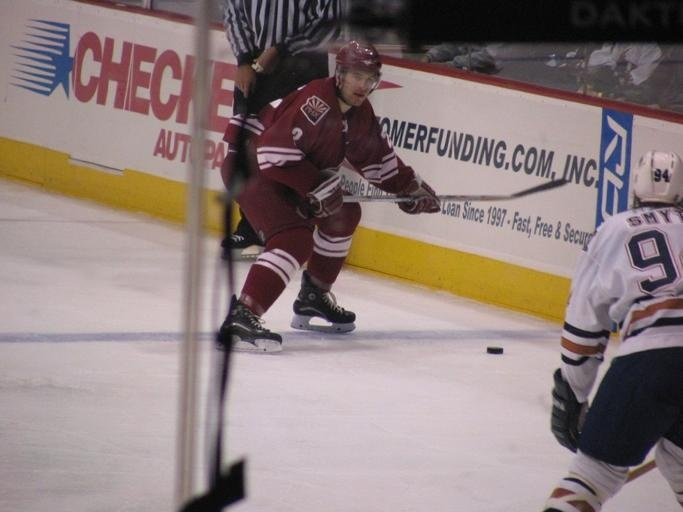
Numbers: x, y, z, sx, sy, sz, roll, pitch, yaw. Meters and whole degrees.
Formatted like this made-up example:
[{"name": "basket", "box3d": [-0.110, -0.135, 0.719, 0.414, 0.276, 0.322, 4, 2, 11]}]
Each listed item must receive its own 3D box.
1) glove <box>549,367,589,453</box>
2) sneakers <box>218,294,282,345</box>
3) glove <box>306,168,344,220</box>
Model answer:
[{"name": "glove", "box3d": [0.765, 0.537, 3.401, 0.110, 0.250, 0.188, -6, 43, 17]}, {"name": "sneakers", "box3d": [-0.399, 0.333, 4.555, 0.244, 0.196, 0.234, 8, 11, 2]}, {"name": "glove", "box3d": [-0.075, -0.283, 4.795, 0.215, 0.165, 0.163, -30, 28, 11]}]
